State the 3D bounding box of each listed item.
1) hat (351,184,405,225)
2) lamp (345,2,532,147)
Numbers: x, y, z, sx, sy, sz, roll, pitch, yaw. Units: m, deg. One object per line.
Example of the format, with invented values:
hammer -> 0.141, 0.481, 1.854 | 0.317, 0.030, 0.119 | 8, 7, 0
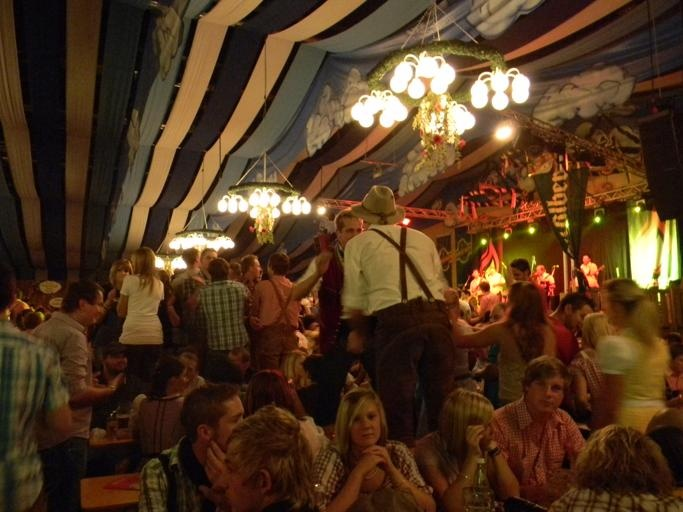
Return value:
hat -> 0.265, -0.378, 4.463 | 0.521, 0.205, 0.474 | -7, -12, 14
lamp -> 1.200, -2.120, 6.974 | 2.051, 1.672, 1.721 | -8, -12, 18
